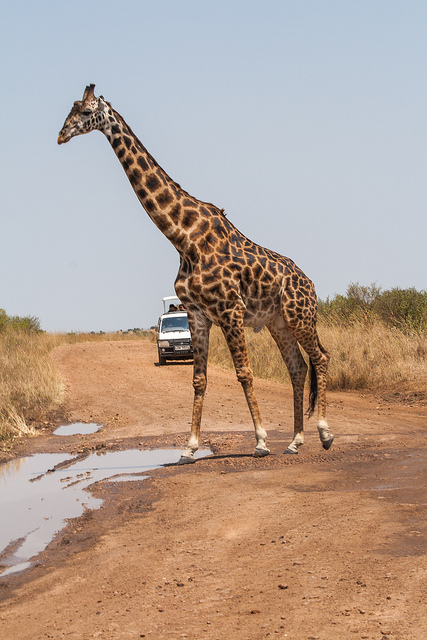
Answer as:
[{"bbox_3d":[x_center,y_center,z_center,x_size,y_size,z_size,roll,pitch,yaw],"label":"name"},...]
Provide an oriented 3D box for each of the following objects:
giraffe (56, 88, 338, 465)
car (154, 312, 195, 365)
[{"bbox_3d":[0.069,-0.505,9.389,2.938,4.302,1.028,-3,0,-27],"label":"giraffe"},{"bbox_3d":[-1.094,0.494,23.405,1.118,1.160,2.346,-1,-3,-8],"label":"car"}]
